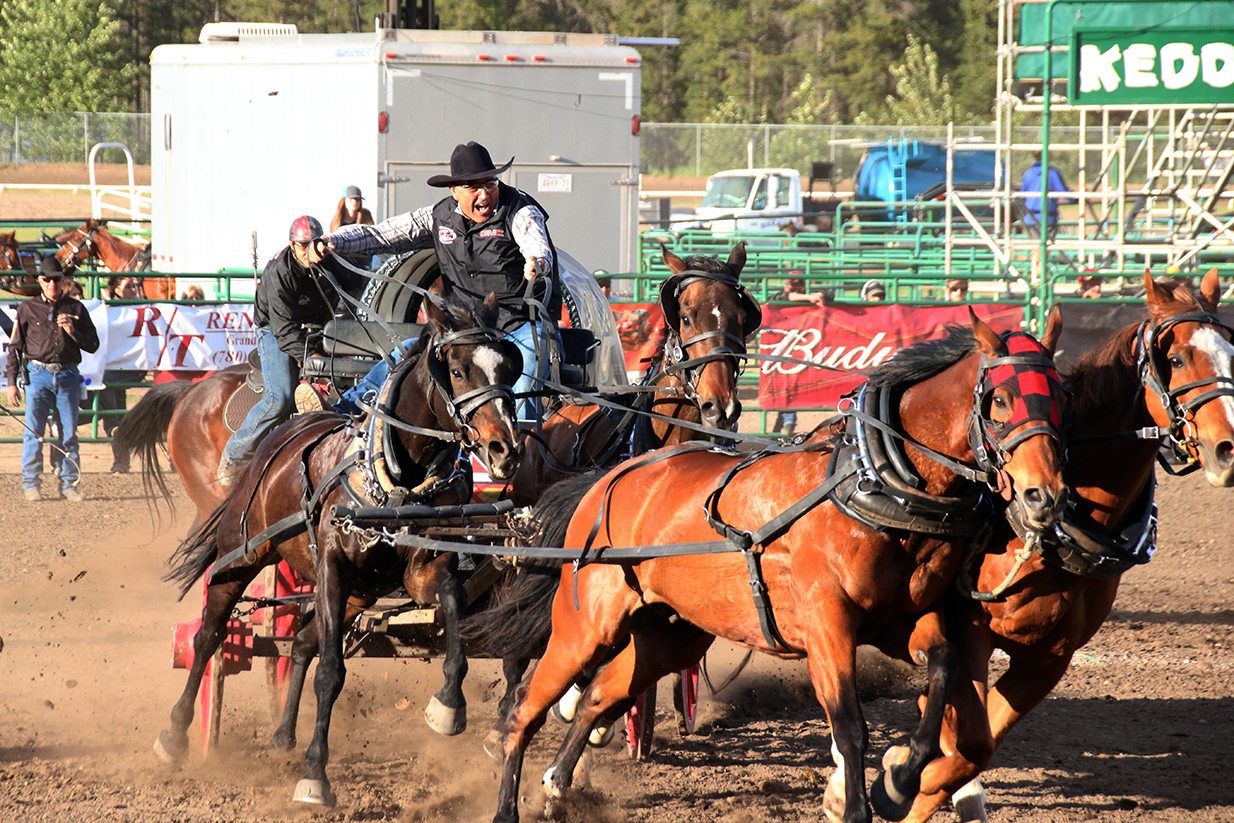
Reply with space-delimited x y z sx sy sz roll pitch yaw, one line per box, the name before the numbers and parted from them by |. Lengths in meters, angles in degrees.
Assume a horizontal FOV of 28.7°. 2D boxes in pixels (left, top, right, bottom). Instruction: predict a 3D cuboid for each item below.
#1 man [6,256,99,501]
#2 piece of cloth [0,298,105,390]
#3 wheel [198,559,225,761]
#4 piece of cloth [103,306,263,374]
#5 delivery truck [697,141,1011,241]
man | -6.409 -0.391 27.445 1.012 2.731 0.901 -1 8 -7
piece of cloth | -6.434 -0.805 27.471 1.077 0.755 0.100 0 2 -8
wheel | -3.657 2.478 21.824 0.248 1.140 1.201 2 6 -12
piece of cloth | -5.052 -0.854 27.994 1.811 0.824 0.108 0 18 -28
delivery truck | 4.085 -3.531 38.898 4.044 1.479 1.286 -3 -6 10
